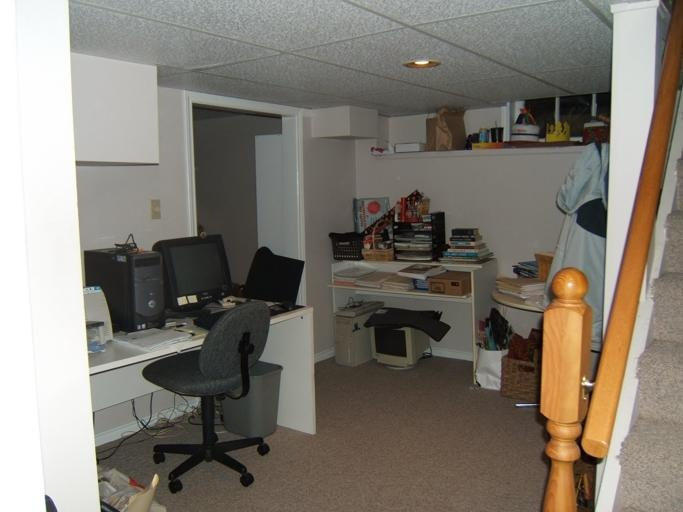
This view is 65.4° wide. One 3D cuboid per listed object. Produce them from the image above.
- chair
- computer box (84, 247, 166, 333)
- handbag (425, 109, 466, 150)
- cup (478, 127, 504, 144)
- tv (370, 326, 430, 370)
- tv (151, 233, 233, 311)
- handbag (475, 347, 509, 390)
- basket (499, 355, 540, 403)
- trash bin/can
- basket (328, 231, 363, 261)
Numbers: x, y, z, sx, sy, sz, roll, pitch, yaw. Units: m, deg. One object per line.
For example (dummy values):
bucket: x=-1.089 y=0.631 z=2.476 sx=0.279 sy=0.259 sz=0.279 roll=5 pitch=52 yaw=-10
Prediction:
chair: x=-0.804 y=0.784 z=3.181 sx=0.757 sy=1.018 sz=0.685 roll=4 pitch=7 yaw=32
computer box: x=-1.291 y=0.184 z=3.213 sx=0.437 sy=0.446 sz=0.260 roll=5 pitch=8 yaw=32
handbag: x=1.003 y=-1.208 z=4.972 sx=0.345 sy=0.332 sz=0.302 roll=-7 pitch=25 yaw=-30
cup: x=1.346 y=-1.086 z=4.801 sx=0.161 sy=0.126 sz=0.174 roll=0 pitch=1 yaw=0
tv: x=0.513 y=0.800 z=4.921 sx=0.326 sy=0.392 sz=0.466 roll=6 pitch=10 yaw=37
tv: x=-1.041 y=0.094 z=3.605 sx=0.287 sy=0.438 sz=0.494 roll=-7 pitch=3 yaw=37
handbag: x=1.205 y=0.864 z=4.376 sx=0.291 sy=0.402 sz=0.348 roll=1 pitch=5 yaw=23
basket: x=1.343 y=0.946 z=4.022 sx=0.295 sy=0.296 sz=0.240 roll=4 pitch=11 yaw=29
trash bin/can: x=-0.559 y=0.979 z=3.737 sx=0.504 sy=0.453 sz=0.405 roll=-1 pitch=0 yaw=27
basket: x=0.069 y=-0.104 z=5.058 sx=0.305 sy=0.255 sz=0.249 roll=-1 pitch=2 yaw=18
